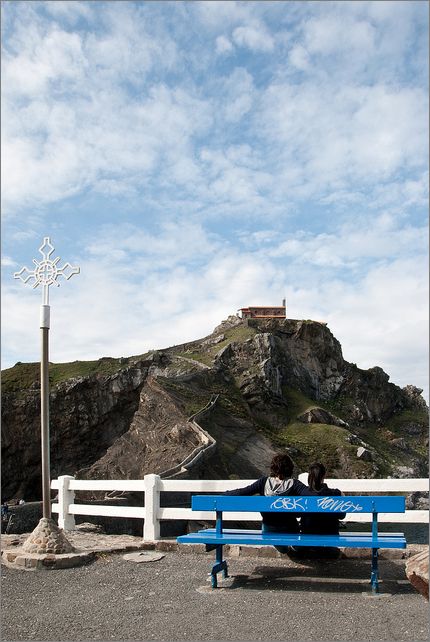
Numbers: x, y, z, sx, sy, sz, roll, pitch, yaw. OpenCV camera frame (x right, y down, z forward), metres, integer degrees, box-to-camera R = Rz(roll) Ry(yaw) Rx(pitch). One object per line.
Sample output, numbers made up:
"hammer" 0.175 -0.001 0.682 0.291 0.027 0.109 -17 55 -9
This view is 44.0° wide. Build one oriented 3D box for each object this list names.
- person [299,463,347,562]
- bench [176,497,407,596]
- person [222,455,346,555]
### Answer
"person" 1.436 2.546 7.237 0.615 1.393 0.803 6 12 18
"bench" 0.963 2.678 6.549 2.603 1.243 0.931 -3 -7 16
"person" 0.897 2.526 7.266 1.611 1.373 0.993 -2 -5 8
